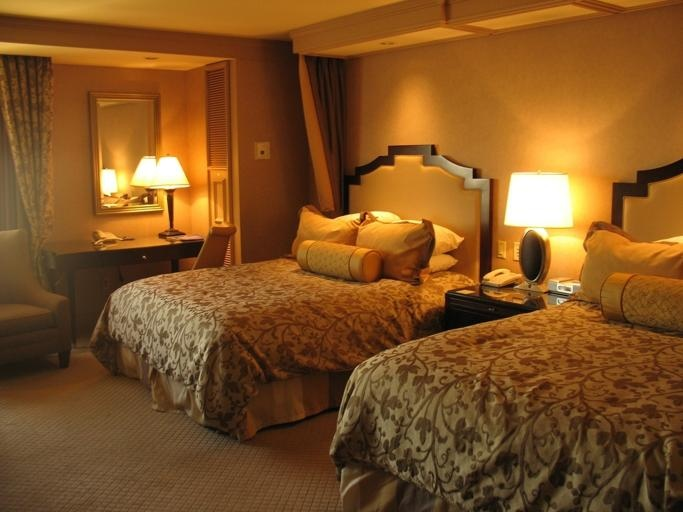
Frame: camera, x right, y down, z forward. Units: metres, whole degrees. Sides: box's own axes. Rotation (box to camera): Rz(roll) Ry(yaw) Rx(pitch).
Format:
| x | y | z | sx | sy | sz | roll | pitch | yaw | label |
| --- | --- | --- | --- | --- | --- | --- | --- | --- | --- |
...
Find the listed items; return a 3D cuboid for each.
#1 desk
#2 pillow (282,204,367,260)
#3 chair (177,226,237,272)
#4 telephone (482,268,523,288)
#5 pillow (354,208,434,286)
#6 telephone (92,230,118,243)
| x | y | z | sx | sy | sz | roll | pitch | yaw | label |
| --- | --- | --- | --- | --- | --- | --- | --- | --- | --- |
| -2.236 | 0.232 | 5.564 | 1.360 | 0.866 | 0.781 | -6 | 18 | -39 | desk |
| -0.133 | -0.226 | 4.768 | 0.176 | 0.360 | 0.497 | 18 | -6 | -42 | pillow |
| -1.246 | -0.152 | 4.952 | 0.376 | 0.474 | 0.403 | -13 | 34 | -37 | chair |
| 1.221 | 0.164 | 4.008 | 0.207 | 0.074 | 0.154 | -9 | 10 | -37 | telephone |
| 0.418 | -0.049 | 4.206 | 0.580 | 0.423 | 0.210 | 5 | 2 | 44 | pillow |
| -2.374 | -0.218 | 5.366 | 0.143 | 0.092 | 0.205 | 2 | 8 | 17 | telephone |
